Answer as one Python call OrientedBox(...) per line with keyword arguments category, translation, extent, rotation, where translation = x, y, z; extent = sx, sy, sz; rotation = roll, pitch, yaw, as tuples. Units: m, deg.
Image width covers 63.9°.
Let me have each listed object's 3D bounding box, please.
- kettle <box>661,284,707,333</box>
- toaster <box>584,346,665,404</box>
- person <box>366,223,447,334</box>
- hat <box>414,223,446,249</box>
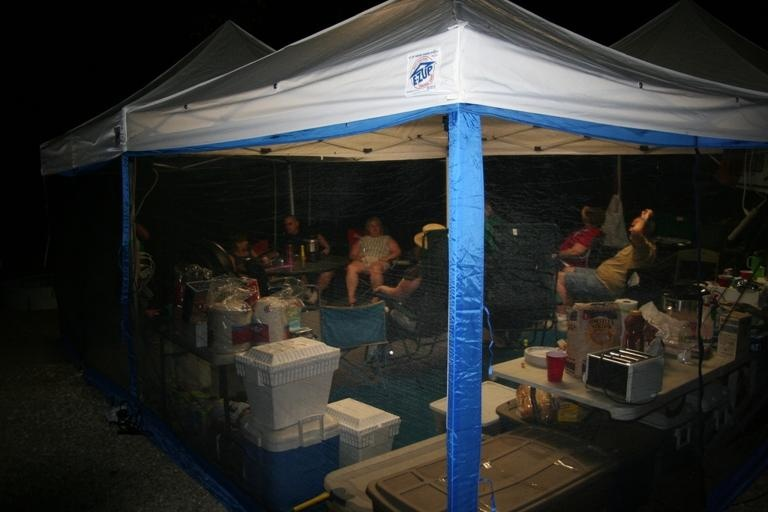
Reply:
OrientedBox(category="kettle", translation=(1.878, 0.362, 3.803), extent=(0.297, 0.289, 0.327), rotation=(1, -2, -14))
OrientedBox(category="toaster", translation=(1.289, 0.611, 3.436), extent=(0.391, 0.244, 0.398), rotation=(-7, 15, -41))
OrientedBox(category="person", translation=(0.194, 0.137, 3.781), extent=(0.399, 0.619, 0.409), rotation=(0, 16, -42))
OrientedBox(category="hat", translation=(0.295, -0.129, 3.886), extent=(0.185, 0.151, 0.047), rotation=(-23, 49, -34))
